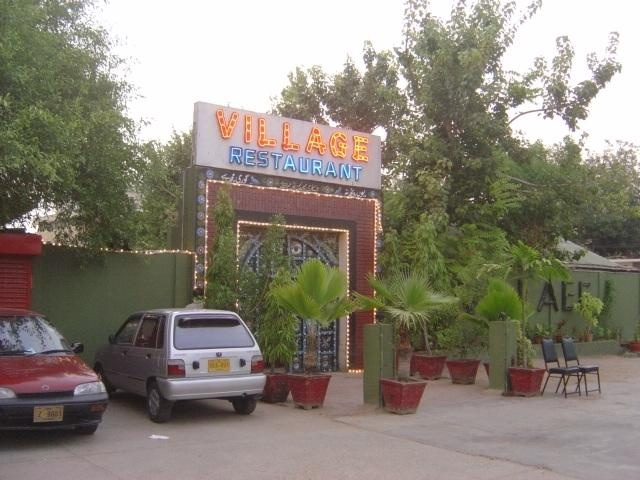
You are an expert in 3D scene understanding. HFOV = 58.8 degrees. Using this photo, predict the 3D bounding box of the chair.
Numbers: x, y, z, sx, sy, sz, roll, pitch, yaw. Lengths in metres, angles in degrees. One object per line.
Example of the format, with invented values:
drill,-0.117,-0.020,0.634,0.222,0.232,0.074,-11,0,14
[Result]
chair,6.968,3.539,15.814,0.618,1.150,1.525,-9,-14,40

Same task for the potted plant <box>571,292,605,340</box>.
potted plant,11.114,3.138,23.568,1.022,1.972,2.049,0,-3,26

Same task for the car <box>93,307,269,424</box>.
car,-2.705,2.258,10.566,3.251,1.971,1.568,-1,-3,30
